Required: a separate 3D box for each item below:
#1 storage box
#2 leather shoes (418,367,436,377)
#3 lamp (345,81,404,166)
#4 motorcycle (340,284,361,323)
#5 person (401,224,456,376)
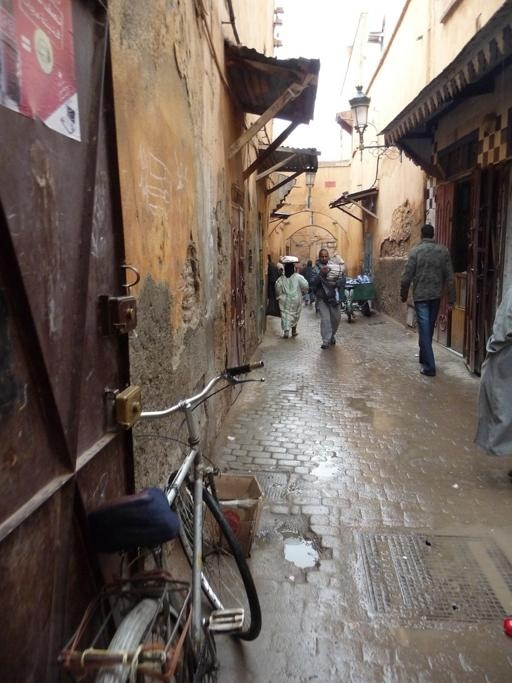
[{"bbox_3d":[-0.141,0.977,2.791,0.361,0.274,0.405,3,10,-31],"label":"storage box"},{"bbox_3d":[2.626,0.457,7.137,0.225,0.116,0.263,3,9,24],"label":"leather shoes"},{"bbox_3d":[2.587,-5.221,10.993,1.023,1.941,0.494,-6,-13,17],"label":"lamp"},{"bbox_3d":[2.963,-1.285,14.623,0.606,1.231,1.422,0,8,3],"label":"motorcycle"},{"bbox_3d":[2.618,-0.663,7.194,0.782,2.316,1.168,2,7,25],"label":"person"}]
